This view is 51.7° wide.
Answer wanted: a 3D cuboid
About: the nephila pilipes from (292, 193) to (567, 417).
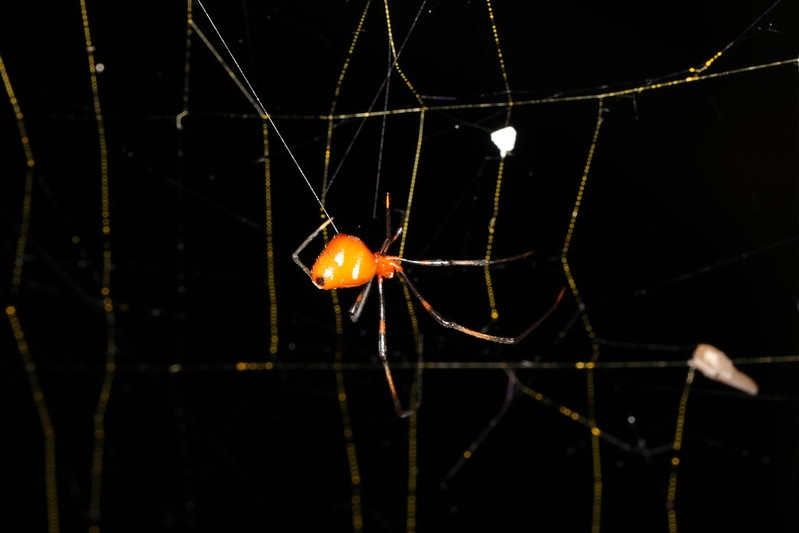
[{"bbox_3d":[0.113,0.073,3.348,0.789,0.318,0.871,-33,-75,16],"label":"nephila pilipes"}]
